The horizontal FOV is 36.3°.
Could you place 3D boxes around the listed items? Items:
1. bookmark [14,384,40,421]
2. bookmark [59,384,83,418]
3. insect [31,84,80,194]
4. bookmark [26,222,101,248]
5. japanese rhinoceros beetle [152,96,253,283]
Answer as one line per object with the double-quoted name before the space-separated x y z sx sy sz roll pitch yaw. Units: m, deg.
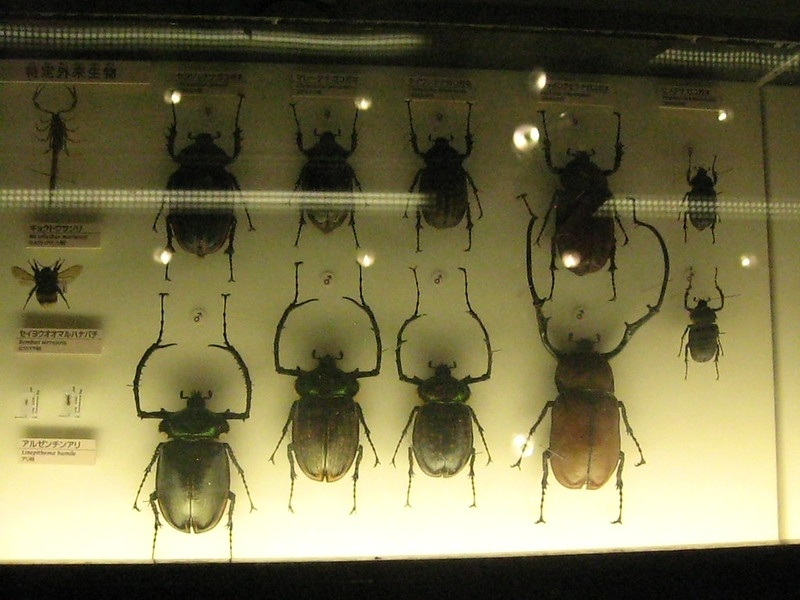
"bookmark" -2.622 0.735 8.568 0.257 0.287 0.026 9 7 -4
"bookmark" -2.307 0.726 8.585 0.150 0.226 0.009 0 -2 -4
"insect" -2.432 -1.224 8.665 0.297 0.056 0.613 -6 -36 -17
"bookmark" -2.368 -0.461 8.606 0.491 0.166 0.025 0 -2 -4
"japanese rhinoceros beetle" -1.394 -0.600 8.577 0.663 0.986 0.224 5 -35 -8
